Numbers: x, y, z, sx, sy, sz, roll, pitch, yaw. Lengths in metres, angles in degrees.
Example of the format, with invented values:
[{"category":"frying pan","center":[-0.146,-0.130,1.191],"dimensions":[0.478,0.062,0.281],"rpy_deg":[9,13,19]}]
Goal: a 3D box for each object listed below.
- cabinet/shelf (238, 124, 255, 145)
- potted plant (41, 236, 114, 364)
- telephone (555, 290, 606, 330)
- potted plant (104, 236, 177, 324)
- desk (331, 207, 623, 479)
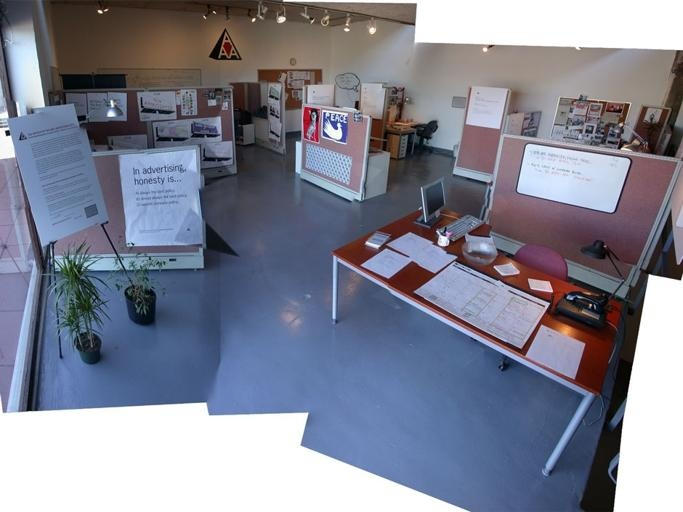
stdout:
[{"category":"cabinet/shelf","center":[-2.035,-2.572,9.419],"dimensions":[0.372,0.435,0.371],"rpy_deg":[5,8,-15]},{"category":"potted plant","center":[-1.975,0.283,3.366],"dimensions":[0.457,0.840,1.179],"rpy_deg":[1,9,-34]},{"category":"telephone","center":[1.583,0.311,2.909],"dimensions":[0.285,0.154,0.302],"rpy_deg":[22,26,30]},{"category":"potted plant","center":[-1.806,0.149,3.825],"dimensions":[0.542,0.704,0.955],"rpy_deg":[3,9,-25]},{"category":"desk","center":[0.915,0.617,3.301],"dimensions":[1.244,0.745,1.928],"rpy_deg":[-2,26,-46]}]
